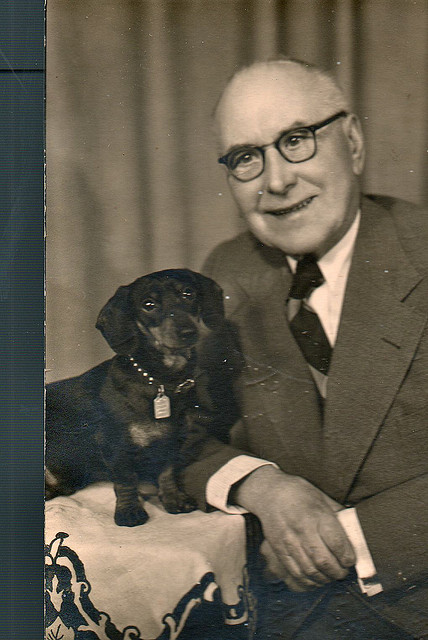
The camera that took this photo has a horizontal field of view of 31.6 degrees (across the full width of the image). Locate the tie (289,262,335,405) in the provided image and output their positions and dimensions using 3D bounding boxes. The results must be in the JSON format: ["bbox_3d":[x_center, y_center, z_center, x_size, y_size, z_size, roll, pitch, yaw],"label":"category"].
[{"bbox_3d":[0.396,0.049,3.081,0.163,0.552,0.090,-12,-4,7],"label":"tie"}]
